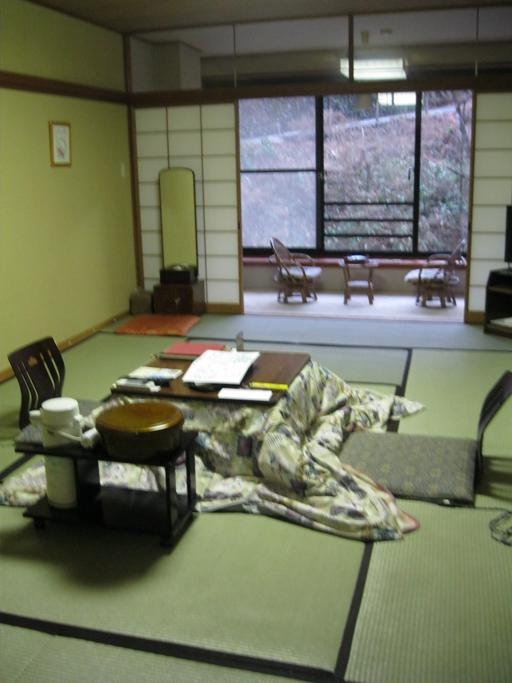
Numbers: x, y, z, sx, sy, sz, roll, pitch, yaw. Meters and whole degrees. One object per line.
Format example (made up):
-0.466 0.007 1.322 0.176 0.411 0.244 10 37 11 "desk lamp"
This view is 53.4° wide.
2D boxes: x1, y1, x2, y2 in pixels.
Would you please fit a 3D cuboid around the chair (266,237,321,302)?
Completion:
0.508 -0.964 6.756 0.626 0.783 0.949 0 11 3 "chair"

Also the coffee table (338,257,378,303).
1.317 -0.836 6.647 0.436 0.577 1.049 2 12 13 "coffee table"

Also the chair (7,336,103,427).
-1.190 0.233 2.966 0.310 0.506 0.240 23 31 29 "chair"

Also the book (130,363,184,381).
-0.483 0.158 2.458 0.235 0.039 0.297 2 12 10 "book"

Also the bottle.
-0.728 0.405 1.879 0.253 0.391 0.140 10 14 43 "bottle"

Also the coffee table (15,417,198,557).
-0.457 0.566 1.856 0.592 0.395 0.377 8 33 9 "coffee table"

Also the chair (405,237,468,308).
2.172 -0.824 6.172 0.615 0.838 0.533 8 9 32 "chair"

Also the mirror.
-0.896 -1.417 5.843 0.404 1.424 0.040 -2 -25 -10 "mirror"
